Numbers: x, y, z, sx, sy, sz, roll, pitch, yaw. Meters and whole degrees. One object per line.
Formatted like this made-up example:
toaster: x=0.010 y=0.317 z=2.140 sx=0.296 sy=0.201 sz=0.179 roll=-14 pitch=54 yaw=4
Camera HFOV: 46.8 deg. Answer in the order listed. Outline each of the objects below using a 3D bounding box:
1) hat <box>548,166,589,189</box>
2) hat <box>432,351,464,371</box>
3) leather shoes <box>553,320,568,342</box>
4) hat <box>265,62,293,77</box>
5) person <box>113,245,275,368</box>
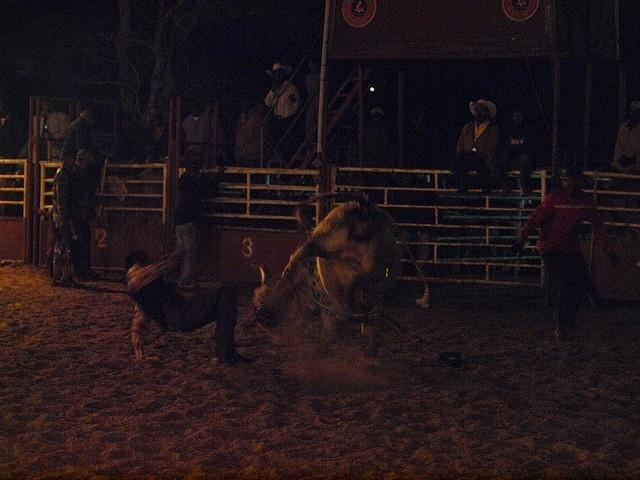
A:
hat: x=3.986 y=-1.002 z=11.850 sx=0.490 sy=0.391 sz=0.489 roll=-2 pitch=-2 yaw=4
hat: x=1.596 y=1.457 z=9.091 sx=0.358 sy=0.118 sz=0.477 roll=3 pitch=12 yaw=10
leather shoes: x=3.313 y=1.209 z=10.072 sx=0.199 sy=0.280 sz=0.478 roll=4 pitch=12 yaw=18
hat: x=-0.990 y=-4.266 z=18.428 sx=0.754 sy=0.291 sz=0.823 roll=-1 pitch=-1 yaw=0
person: x=-1.727 y=0.814 z=9.108 sx=1.298 sy=1.991 sz=0.956 roll=-22 pitch=-11 yaw=-8
